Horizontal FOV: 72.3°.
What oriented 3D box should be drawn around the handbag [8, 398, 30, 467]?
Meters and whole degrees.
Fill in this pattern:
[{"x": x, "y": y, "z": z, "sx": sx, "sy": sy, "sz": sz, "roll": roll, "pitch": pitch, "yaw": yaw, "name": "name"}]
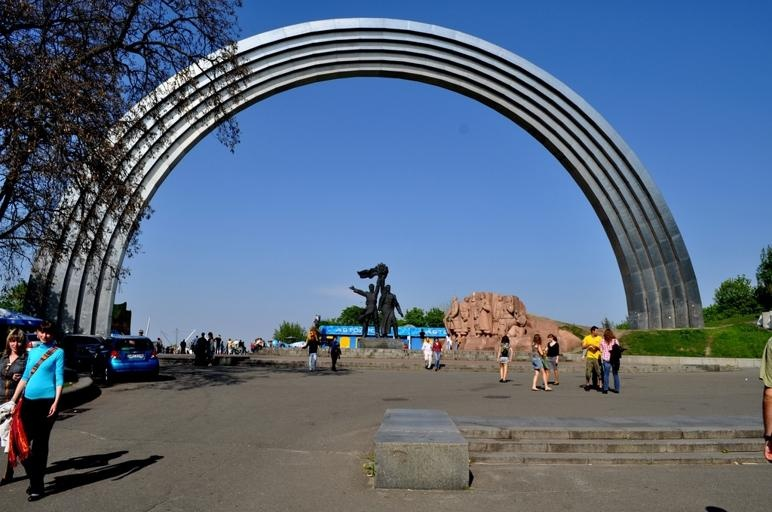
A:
[{"x": -6.084, "y": 2.978, "z": 8.793, "sx": 0.539, "sy": 1.125, "sz": 0.244, "roll": -8, "pitch": -13, "yaw": 40, "name": "handbag"}]
